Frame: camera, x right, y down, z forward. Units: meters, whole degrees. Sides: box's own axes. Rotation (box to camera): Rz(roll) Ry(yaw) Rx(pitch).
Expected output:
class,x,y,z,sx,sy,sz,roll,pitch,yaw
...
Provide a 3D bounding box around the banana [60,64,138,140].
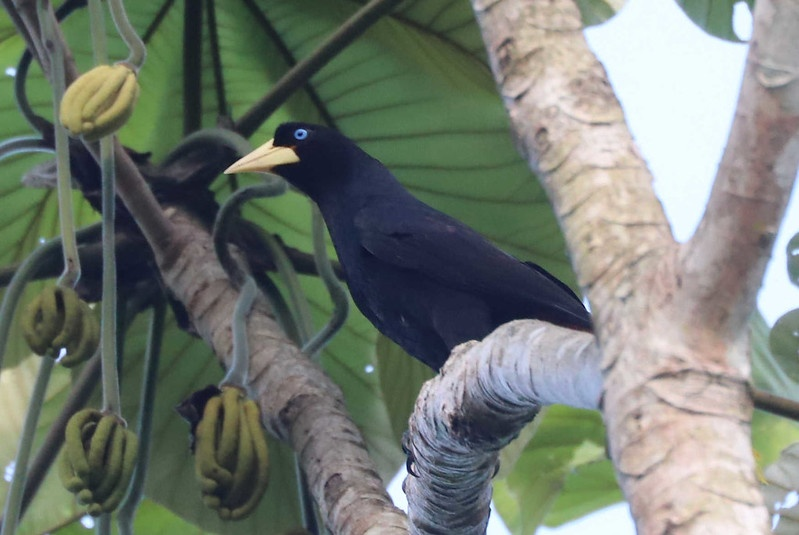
class,x,y,z,sx,sy,sz,roll,pitch,yaw
banana,-1.207,-0.698,6.122,0.250,0.327,0.158,30,-30,13

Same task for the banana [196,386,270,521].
class,x,y,z,sx,sy,sz,roll,pitch,yaw
banana,-0.670,0.710,6.012,0.263,0.550,0.255,-6,-42,-2
